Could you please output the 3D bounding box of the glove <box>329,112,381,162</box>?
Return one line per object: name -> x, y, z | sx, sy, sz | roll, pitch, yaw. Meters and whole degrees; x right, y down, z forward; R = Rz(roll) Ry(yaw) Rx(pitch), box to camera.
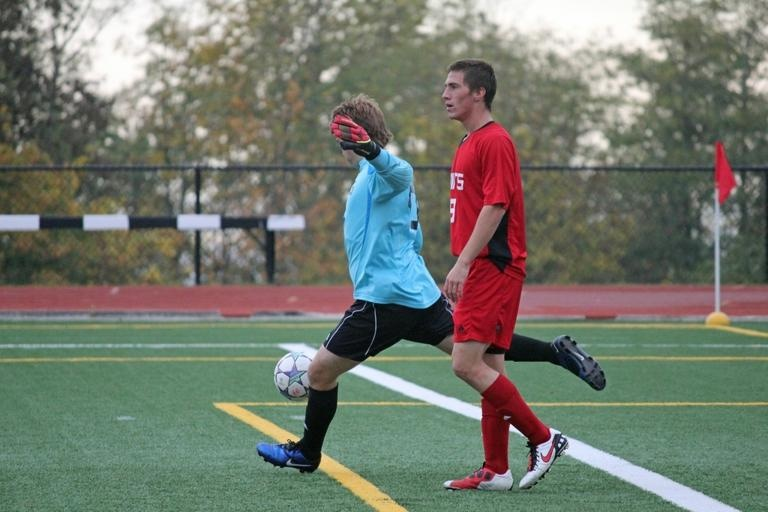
glove -> -0.380, -1.559, 17.412 | 0.699, 0.849, 0.397 | 1, -2, -11
